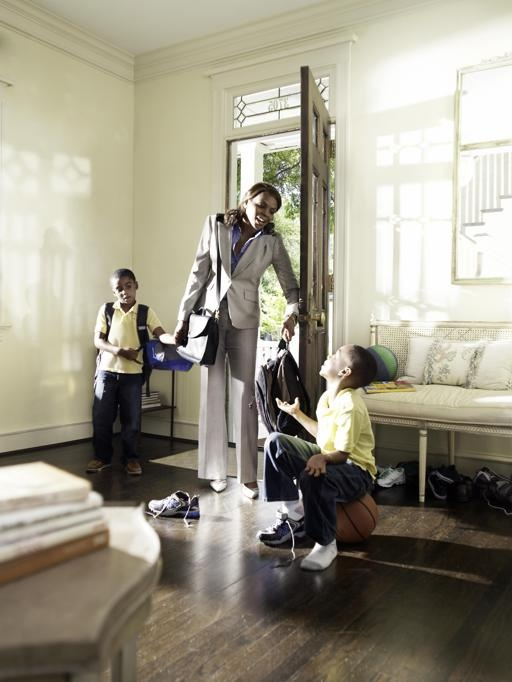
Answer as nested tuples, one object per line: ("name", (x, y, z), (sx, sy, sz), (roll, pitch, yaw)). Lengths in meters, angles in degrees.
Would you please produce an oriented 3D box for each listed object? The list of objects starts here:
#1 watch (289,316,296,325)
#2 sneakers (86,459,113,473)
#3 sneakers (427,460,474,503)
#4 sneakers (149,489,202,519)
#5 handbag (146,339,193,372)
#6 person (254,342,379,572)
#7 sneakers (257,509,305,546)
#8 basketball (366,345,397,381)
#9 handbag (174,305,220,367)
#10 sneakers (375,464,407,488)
("watch", (0.194, -0.119, 2.791), (0.030, 0.049, 0.114), (1, -1, 16))
("sneakers", (-0.987, 0.778, 3.273), (0.115, 0.053, 0.188), (1, -1, -4))
("sneakers", (1.024, 0.762, 2.825), (0.113, 0.115, 0.265), (-1, 4, -2))
("sneakers", (-0.366, 0.760, 2.475), (0.261, 0.116, 0.101), (5, -5, 2))
("handbag", (-0.547, 0.094, 3.346), (0.250, 0.093, 0.194), (3, 9, -17))
("person", (0.225, 0.416, 2.070), (0.396, 0.806, 0.435), (2, -1, -43))
("sneakers", (0.112, 0.776, 2.193), (0.251, 0.120, 0.085), (2, -5, -44))
("basketball", (0.682, 0.123, 2.849), (0.150, 0.144, 0.145), (-27, 9, -37))
("handbag", (-0.308, -0.035, 2.810), (0.134, 0.350, 0.343), (10, -2, -27))
("sneakers", (0.784, 0.775, 3.060), (0.182, 0.088, 0.079), (1, -2, -35))
